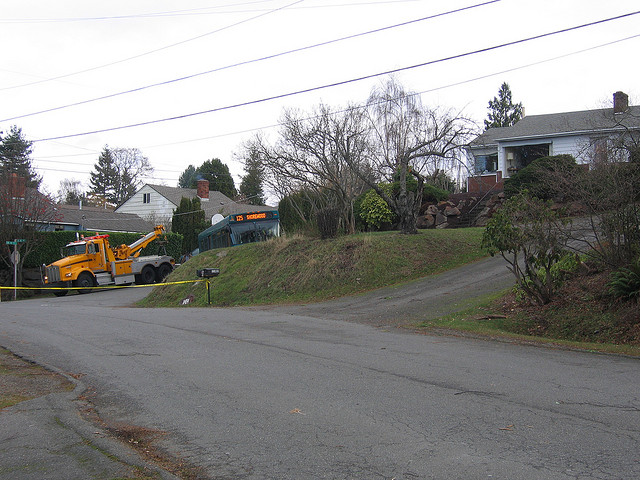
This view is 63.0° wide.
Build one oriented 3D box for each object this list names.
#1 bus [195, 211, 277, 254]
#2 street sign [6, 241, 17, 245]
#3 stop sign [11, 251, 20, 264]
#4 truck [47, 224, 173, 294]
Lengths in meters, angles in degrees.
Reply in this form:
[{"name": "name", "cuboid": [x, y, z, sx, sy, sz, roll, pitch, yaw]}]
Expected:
[{"name": "bus", "cuboid": [-5.945, -0.467, 36.078, 2.369, 2.633, 8.258, -1, -8, -27]}, {"name": "street sign", "cuboid": [-20.769, 0.180, 35.092, 0.583, 0.220, 1.820, -1, 0, -31]}, {"name": "stop sign", "cuboid": [-20.554, 1.179, 35.209, 0.408, 0.865, 1.045, -1, 1, -37]}, {"name": "truck", "cuboid": [-14.895, 1.293, 37.718, 3.486, 4.301, 9.294, -5, 0, 28]}]
